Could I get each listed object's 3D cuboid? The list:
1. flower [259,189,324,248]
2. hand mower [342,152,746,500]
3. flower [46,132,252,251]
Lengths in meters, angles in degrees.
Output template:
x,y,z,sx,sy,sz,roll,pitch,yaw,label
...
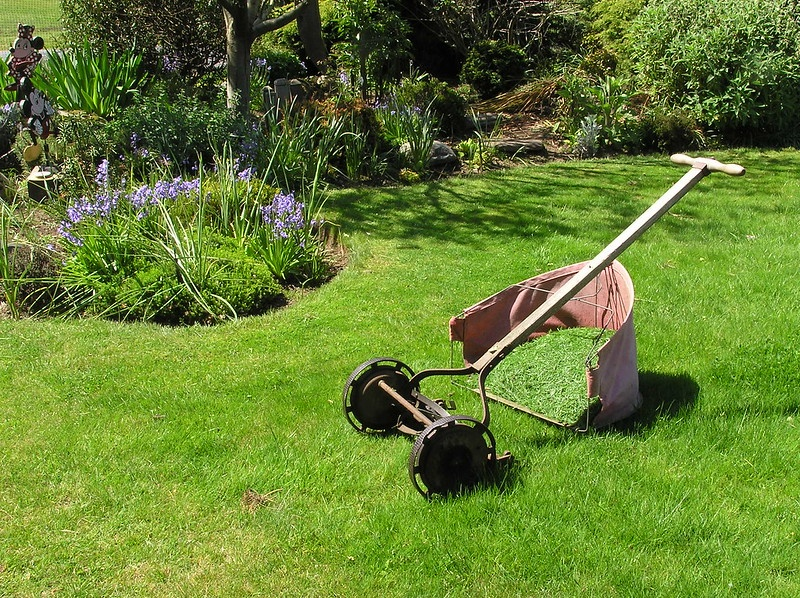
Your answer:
x,y,z,sx,sy,sz,roll,pitch,yaw,label
-1.029,-0.749,8.040,0.467,0.648,0.530,-1,11,6,flower
1.139,0.005,6.708,3.637,2.160,1.479,-21,24,-27,hand mower
-2.489,-0.892,7.646,1.098,0.553,0.906,-32,35,-20,flower
